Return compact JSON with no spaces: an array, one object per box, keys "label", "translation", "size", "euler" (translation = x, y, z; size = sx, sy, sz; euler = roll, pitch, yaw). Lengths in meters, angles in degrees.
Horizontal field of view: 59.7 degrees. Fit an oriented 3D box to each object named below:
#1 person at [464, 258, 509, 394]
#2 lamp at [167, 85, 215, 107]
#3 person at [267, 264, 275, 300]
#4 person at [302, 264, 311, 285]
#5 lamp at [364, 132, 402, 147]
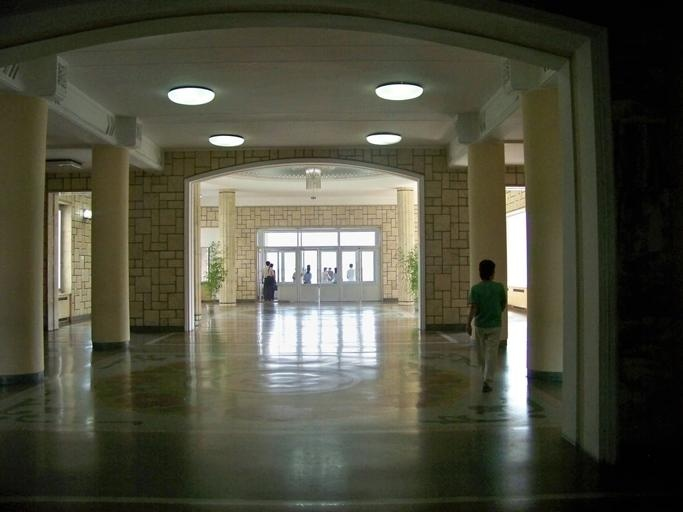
[{"label":"person","translation":[1.965,0.920,8.034],"size":[0.467,1.724,0.430],"euler":[-1,2,15]},{"label":"lamp","translation":[-2.568,-2.761,10.177],"size":[0.774,0.203,0.530],"euler":[-1,2,-10]},{"label":"person","translation":[-2.922,1.043,24.609],"size":[0.423,1.551,0.257],"euler":[-2,2,-32]},{"label":"person","translation":[-1.433,0.752,24.690],"size":[0.340,0.794,0.126],"euler":[-1,1,-13]},{"label":"lamp","translation":[0.939,-2.657,13.382],"size":[0.799,0.160,0.586],"euler":[-1,2,4]}]
